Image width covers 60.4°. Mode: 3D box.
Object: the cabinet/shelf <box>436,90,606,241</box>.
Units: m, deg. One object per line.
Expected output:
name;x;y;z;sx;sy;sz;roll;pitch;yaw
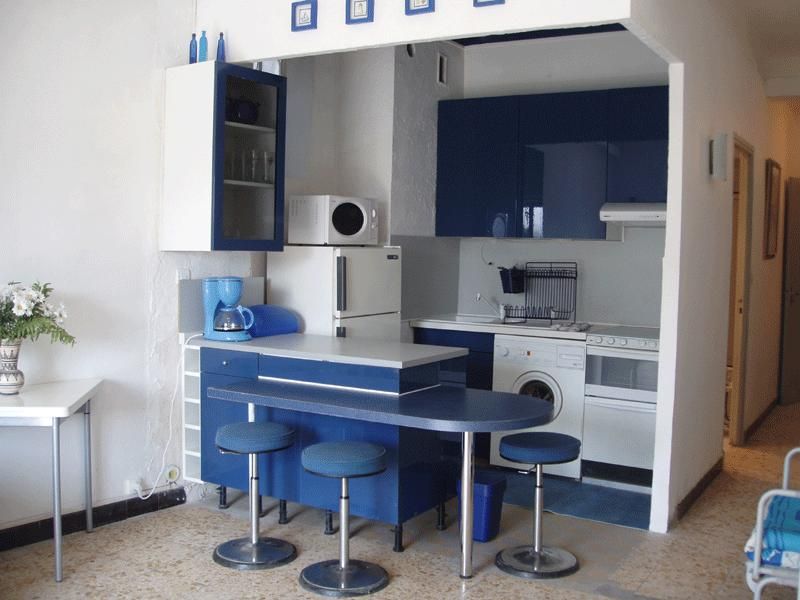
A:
cabinet/shelf;1.043;-1.120;5.699;1.232;1.062;0.403;2;4;26

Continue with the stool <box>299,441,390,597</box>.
stool;-0.296;1.160;3.707;0.499;0.723;0.402;3;7;18

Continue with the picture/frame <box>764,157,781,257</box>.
picture/frame;3.768;-0.962;6.980;0.064;0.918;0.943;-1;12;29

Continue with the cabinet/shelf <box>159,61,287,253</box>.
cabinet/shelf;-1.156;-0.920;4.496;0.827;1.181;0.386;-1;7;-19

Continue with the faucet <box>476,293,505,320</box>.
faucet;0.843;0.052;6.201;0.180;0.201;0.431;-1;7;-17

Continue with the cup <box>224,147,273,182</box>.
cup;-0.972;-0.881;4.483;0.243;0.182;0.204;-4;14;-17

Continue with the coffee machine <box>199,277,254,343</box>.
coffee machine;-1.165;0.053;4.567;0.409;0.403;0.338;0;3;12

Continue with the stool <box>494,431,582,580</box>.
stool;0.747;1.121;4.200;0.631;0.931;0.659;2;6;24

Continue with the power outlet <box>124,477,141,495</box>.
power outlet;-1.746;1.208;4.515;0.097;0.100;0.099;5;9;24

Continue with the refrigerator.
refrigerator;-0.412;-0.061;5.398;0.752;1.064;0.749;2;5;31

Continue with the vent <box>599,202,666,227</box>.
vent;1.828;-0.668;5.411;0.490;0.175;0.753;3;7;19

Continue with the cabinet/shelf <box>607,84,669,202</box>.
cabinet/shelf;1.823;-1.194;5.290;0.429;0.874;0.147;3;6;18

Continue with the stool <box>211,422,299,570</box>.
stool;-0.815;1.104;4.025;0.501;0.730;0.543;3;7;17
